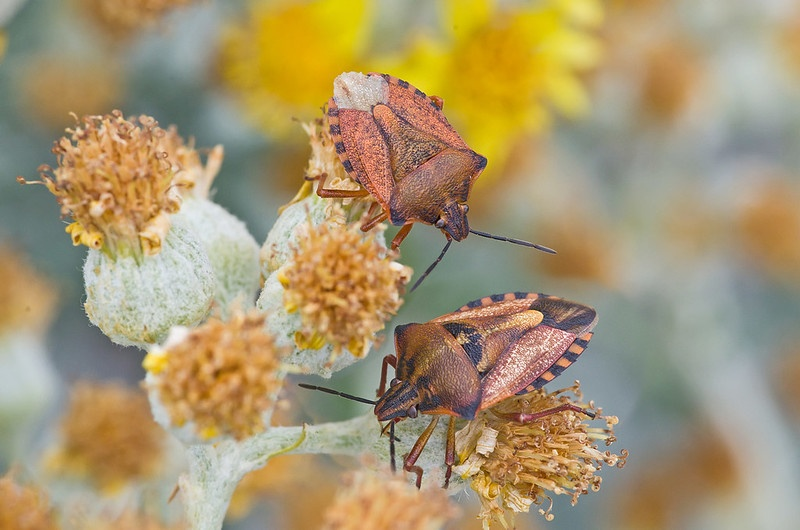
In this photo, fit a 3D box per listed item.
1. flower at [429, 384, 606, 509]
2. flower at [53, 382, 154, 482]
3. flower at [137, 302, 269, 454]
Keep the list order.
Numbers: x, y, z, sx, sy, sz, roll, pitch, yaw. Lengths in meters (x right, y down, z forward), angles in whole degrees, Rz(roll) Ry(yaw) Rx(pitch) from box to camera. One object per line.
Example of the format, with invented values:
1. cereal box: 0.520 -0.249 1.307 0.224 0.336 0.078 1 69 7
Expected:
1. flower: 0.642 0.894 5.274 0.762 0.150 0.530 -3 73 -1
2. flower: -1.582 0.930 5.871 0.544 0.145 0.541 9 74 3
3. flower: -0.831 0.519 4.810 0.606 0.182 0.530 -13 74 -4
